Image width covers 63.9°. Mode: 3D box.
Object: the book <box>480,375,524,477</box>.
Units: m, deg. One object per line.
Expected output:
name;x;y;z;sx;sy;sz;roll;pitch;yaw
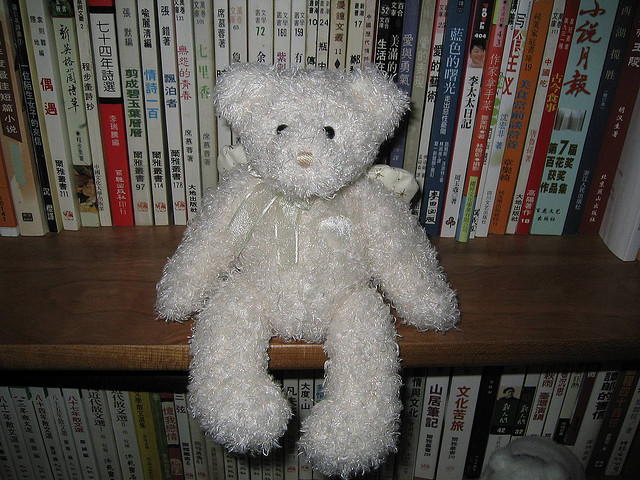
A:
book;0.314;0.319;0.883;0.044;0.205;0.006;2;21;4

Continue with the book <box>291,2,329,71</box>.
book;-0.015;-0.314;0.788;0.057;0.093;0.013;-2;21;-8

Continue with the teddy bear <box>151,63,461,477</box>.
teddy bear;-0.019;0.044;0.799;0.472;0.562;0.229;3;-12;1

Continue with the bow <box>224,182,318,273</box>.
bow;-0.071;-0.018;0.719;0.121;0.120;0.034;28;3;7
